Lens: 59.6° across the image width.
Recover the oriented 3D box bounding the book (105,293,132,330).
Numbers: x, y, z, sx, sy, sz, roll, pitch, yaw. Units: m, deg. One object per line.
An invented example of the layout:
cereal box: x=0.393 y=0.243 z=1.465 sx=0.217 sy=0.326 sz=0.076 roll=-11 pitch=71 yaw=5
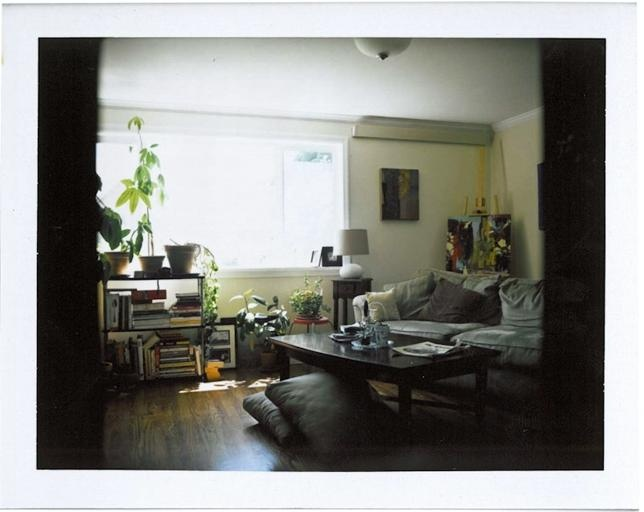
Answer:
book: x=-1.209 y=0.294 z=3.350 sx=0.163 sy=0.323 sz=0.243 roll=0 pitch=1 yaw=-22

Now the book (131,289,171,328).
book: x=-1.022 y=0.308 z=3.392 sx=0.242 sy=0.256 sz=0.190 roll=2 pitch=-4 yaw=-43

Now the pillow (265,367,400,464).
pillow: x=0.060 y=0.650 z=2.363 sx=0.373 sy=0.206 sz=0.637 roll=-3 pitch=4 yaw=-28

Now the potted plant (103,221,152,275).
potted plant: x=-1.070 y=-0.046 z=3.161 sx=0.212 sy=0.262 sz=0.239 roll=-3 pitch=-15 yaw=-23

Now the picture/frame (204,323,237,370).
picture/frame: x=-0.684 y=0.594 z=3.671 sx=0.213 sy=0.308 sz=0.012 roll=0 pitch=22 yaw=-4

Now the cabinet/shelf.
cabinet/shelf: x=-1.030 y=0.448 z=3.359 sx=0.587 sy=0.748 sz=0.232 roll=-1 pitch=5 yaw=-14

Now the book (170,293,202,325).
book: x=-0.846 y=0.303 z=3.513 sx=0.217 sy=0.227 sz=0.175 roll=1 pitch=1 yaw=-17

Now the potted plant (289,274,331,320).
potted plant: x=-0.075 y=0.288 z=3.680 sx=0.194 sy=0.251 sz=0.162 roll=9 pitch=3 yaw=-7

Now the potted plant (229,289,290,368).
potted plant: x=-0.382 y=0.482 z=3.723 sx=0.408 sy=0.530 sz=0.321 roll=-2 pitch=-6 yaw=-23

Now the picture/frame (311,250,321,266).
picture/frame: x=-0.046 y=0.023 z=3.974 sx=0.102 sy=0.114 sz=0.066 roll=-1 pitch=6 yaw=-15
